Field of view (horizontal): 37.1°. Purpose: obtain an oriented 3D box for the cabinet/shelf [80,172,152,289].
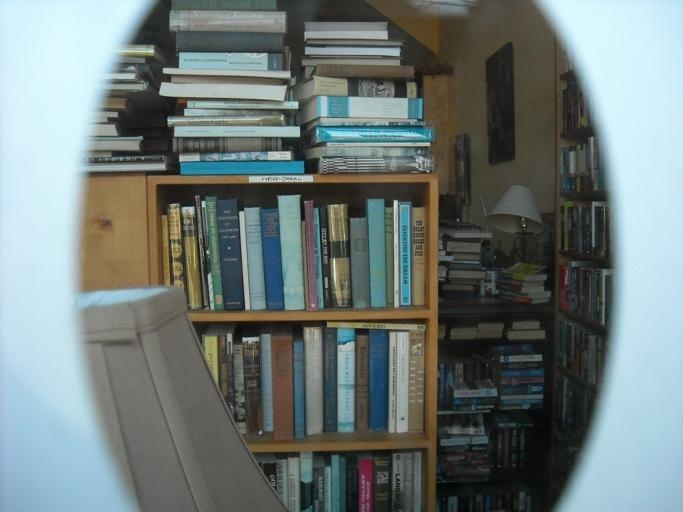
[{"bbox_3d":[-0.590,-0.076,2.661,0.259,0.306,0.157,-2,3,-2],"label":"cabinet/shelf"}]
